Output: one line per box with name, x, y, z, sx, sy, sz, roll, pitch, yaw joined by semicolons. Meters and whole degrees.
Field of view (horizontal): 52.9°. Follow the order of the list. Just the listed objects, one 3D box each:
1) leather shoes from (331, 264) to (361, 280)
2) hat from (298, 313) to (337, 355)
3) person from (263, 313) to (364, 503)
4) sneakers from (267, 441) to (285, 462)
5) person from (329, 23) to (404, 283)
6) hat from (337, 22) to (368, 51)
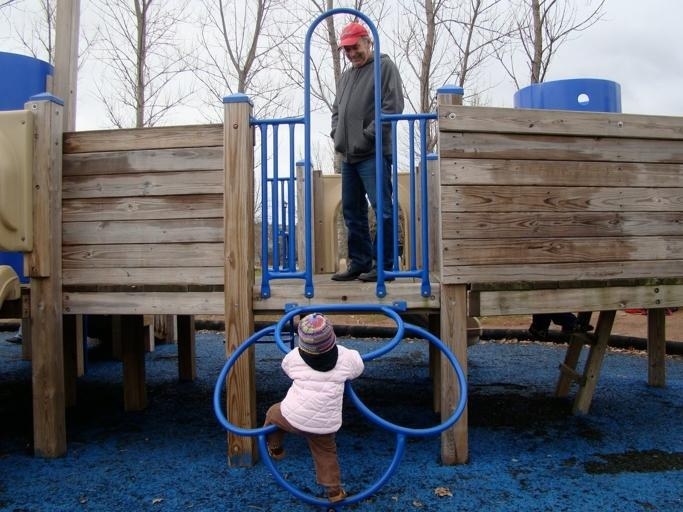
leather shoes;0.013;0.128;5.352;0.276;0.118;0.097;2;5;32
hat;-0.162;0.428;4.110;0.255;0.243;0.235;-3;36;-2
person;-0.171;0.930;4.231;0.605;1.195;0.306;-1;8;-1
sneakers;-0.417;1.237;4.383;0.091;0.098;0.117;1;-14;-9
person;0.193;-0.803;5.252;0.536;1.976;0.799;-4;8;-25
hat;0.110;-1.709;5.255;0.201;0.209;0.283;3;8;27
